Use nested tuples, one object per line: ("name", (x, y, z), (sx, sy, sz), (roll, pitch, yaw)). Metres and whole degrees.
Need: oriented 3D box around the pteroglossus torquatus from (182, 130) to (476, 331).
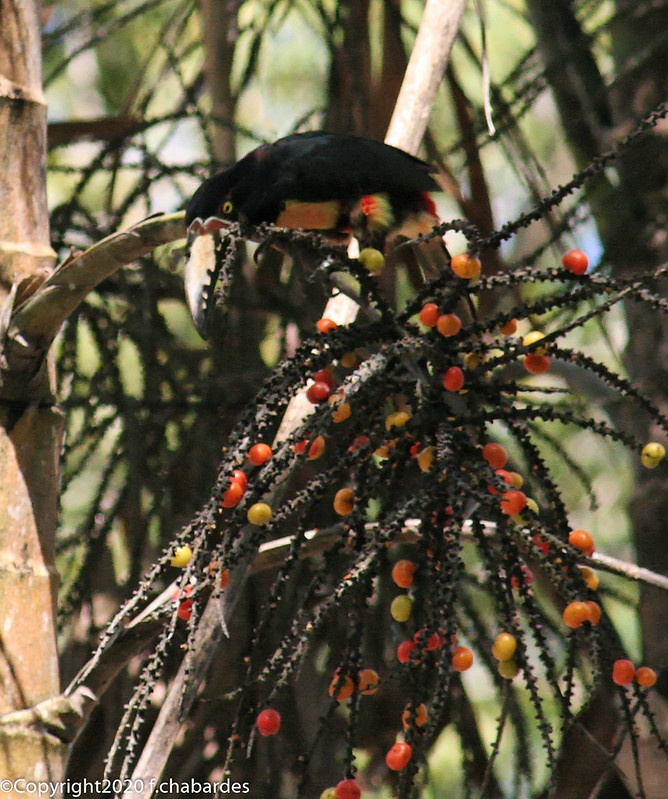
("pteroglossus torquatus", (-0.031, -0.308, 2.815), (0.224, 0.526, 0.261), (-4, -80, 60))
